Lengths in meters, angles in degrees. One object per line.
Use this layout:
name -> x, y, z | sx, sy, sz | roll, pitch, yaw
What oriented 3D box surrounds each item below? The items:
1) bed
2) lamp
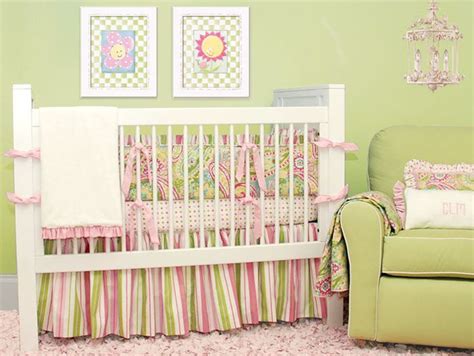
bed -> -0.306, 0.195, 3.274 | 1.711, 1.191, 1.232 | 0, -1, -8
lamp -> 1.204, -0.870, 3.241 | 0.349, 0.667, 0.882 | 2, 3, 20
